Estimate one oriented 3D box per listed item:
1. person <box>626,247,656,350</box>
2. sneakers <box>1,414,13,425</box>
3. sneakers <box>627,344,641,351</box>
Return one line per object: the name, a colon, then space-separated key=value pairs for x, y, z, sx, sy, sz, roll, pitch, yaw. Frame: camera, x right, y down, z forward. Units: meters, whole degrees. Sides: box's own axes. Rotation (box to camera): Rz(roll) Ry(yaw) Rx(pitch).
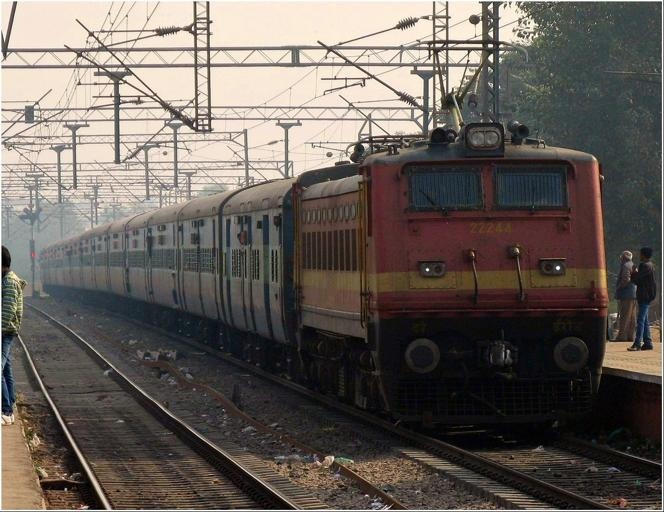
person: x=5.853 y=0.819 z=15.011 sx=0.485 sy=1.620 sz=1.472 roll=-2 pitch=0 yaw=23
sneakers: x=-4.848 y=2.455 z=11.780 sx=0.092 sy=0.108 sz=0.265 roll=1 pitch=6 yaw=-4
sneakers: x=5.547 y=1.714 z=14.619 sx=0.256 sy=0.108 sz=0.088 roll=4 pitch=0 yaw=-4
